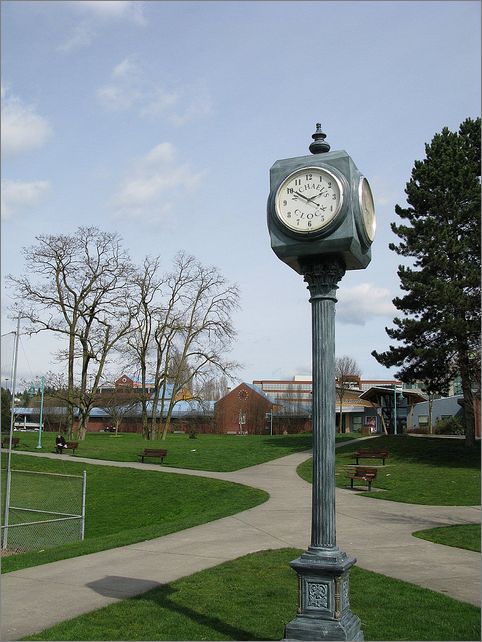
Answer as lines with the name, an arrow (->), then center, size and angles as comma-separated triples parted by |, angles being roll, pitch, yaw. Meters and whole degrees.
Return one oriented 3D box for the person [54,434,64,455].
person -> -9.592, 6.583, 33.488 | 0.482, 0.829, 1.028 | 2, -5, -16
